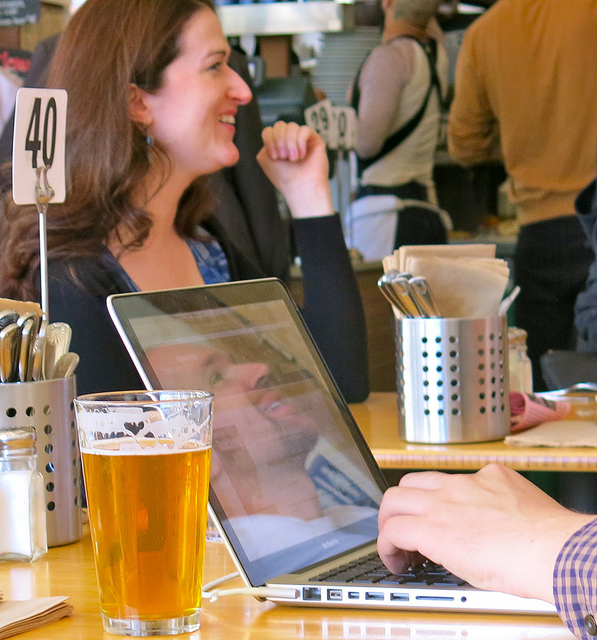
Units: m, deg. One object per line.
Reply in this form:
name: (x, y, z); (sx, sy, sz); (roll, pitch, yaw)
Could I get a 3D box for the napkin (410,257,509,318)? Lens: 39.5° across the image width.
napkin: (0.234, -0.050, 1.186); (0.107, 0.101, 0.038); (-10, 5, -12)

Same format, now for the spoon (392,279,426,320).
spoon: (0.153, -0.031, 1.168); (0.024, 0.091, 0.024); (-23, 47, 10)

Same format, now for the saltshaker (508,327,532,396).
saltshaker: (0.379, 0.088, 1.471); (0.048, 0.121, 0.047); (3, -6, -37)

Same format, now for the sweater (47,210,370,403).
sweater: (-0.234, -0.114, 1.702); (0.392, 0.236, 0.282); (-12, -1, -39)

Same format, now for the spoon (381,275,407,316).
spoon: (0.138, -0.039, 1.203); (0.021, 0.087, 0.020); (30, 74, 28)

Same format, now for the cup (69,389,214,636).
cup: (-0.090, 0.136, 0.634); (0.140, 0.207, 0.141); (-1, -3, 0)

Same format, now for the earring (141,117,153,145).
earring: (-0.304, -0.381, 1.666); (0.015, 0.056, 0.015); (-14, -16, -40)

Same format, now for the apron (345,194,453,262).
apron: (0.287, -0.277, 2.433); (0.277, 0.236, 0.160); (9, 13, 3)

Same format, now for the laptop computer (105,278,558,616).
laptop computer: (0.071, 0.083, 0.725); (0.382, 0.218, 0.348); (0, 5, 15)

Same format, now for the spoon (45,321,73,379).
spoon: (-0.237, 0.029, 0.817); (0.026, 0.048, 0.008); (5, 13, -41)
